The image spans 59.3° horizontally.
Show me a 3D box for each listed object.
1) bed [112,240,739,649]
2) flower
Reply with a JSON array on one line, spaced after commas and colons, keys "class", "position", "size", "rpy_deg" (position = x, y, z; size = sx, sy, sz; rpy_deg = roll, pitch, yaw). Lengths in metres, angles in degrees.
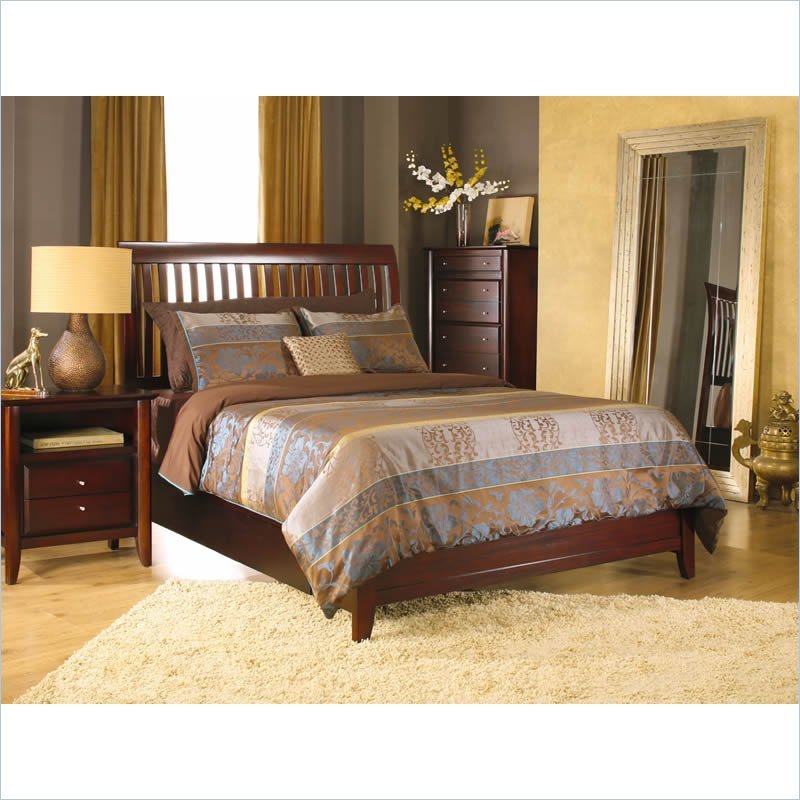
[{"class": "bed", "position": [-0.111, 0.000, 3.577], "size": [1.976, 1.493, 2.567], "rpy_deg": [-5, 7, -32]}, {"class": "flower", "position": [0.449, -1.836, 5.977], "size": [0.720, 0.384, 0.796], "rpy_deg": [1, 7, 44]}]
